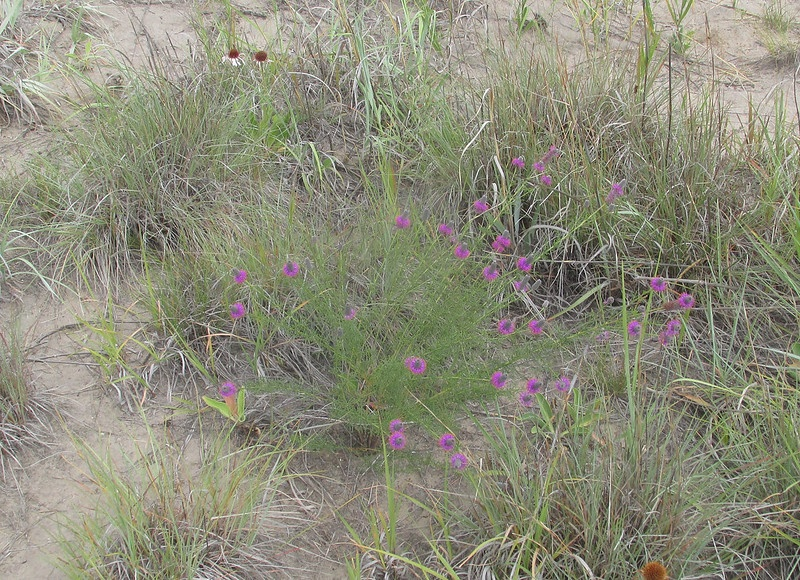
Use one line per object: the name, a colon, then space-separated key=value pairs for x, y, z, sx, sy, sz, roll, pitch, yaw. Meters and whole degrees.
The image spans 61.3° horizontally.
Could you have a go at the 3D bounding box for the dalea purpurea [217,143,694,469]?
dalea purpurea: x=0.319 y=0.121 z=3.297 sx=1.185 sy=0.815 sz=1.604 roll=1 pitch=91 yaw=3
